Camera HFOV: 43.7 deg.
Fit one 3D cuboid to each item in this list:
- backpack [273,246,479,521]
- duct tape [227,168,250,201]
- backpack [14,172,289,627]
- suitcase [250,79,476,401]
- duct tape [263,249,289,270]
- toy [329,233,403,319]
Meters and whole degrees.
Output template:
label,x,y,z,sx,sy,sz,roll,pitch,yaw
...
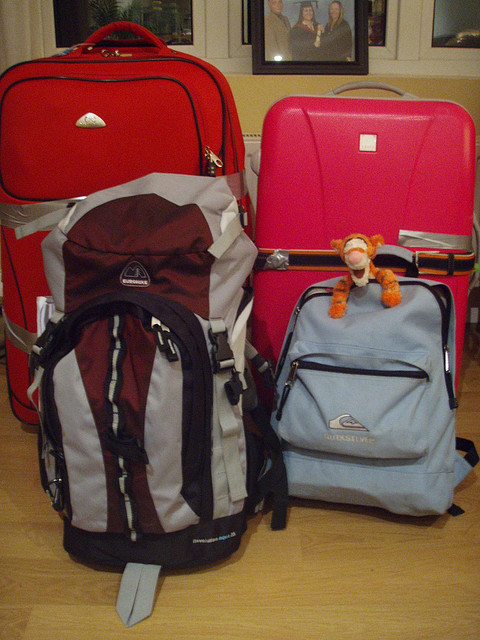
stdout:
label,x,y,z,sx,sy,sz,roll,pitch,yaw
backpack,0.200,0.113,0.991,0.300,0.332,0.254,2,24,8
duct tape,-0.001,-0.267,1.189,0.060,0.050,0.069,-6,10,3
backpack,-0.114,0.079,0.939,0.452,0.566,0.458,0,19,12
suitcase,0.216,-0.176,1.248,0.374,0.582,0.405,1,25,2
duct tape,0.067,-0.113,1.096,0.040,0.036,0.010,3,8,12
toy,0.203,-0.079,0.990,0.121,0.123,0.105,-6,13,23
